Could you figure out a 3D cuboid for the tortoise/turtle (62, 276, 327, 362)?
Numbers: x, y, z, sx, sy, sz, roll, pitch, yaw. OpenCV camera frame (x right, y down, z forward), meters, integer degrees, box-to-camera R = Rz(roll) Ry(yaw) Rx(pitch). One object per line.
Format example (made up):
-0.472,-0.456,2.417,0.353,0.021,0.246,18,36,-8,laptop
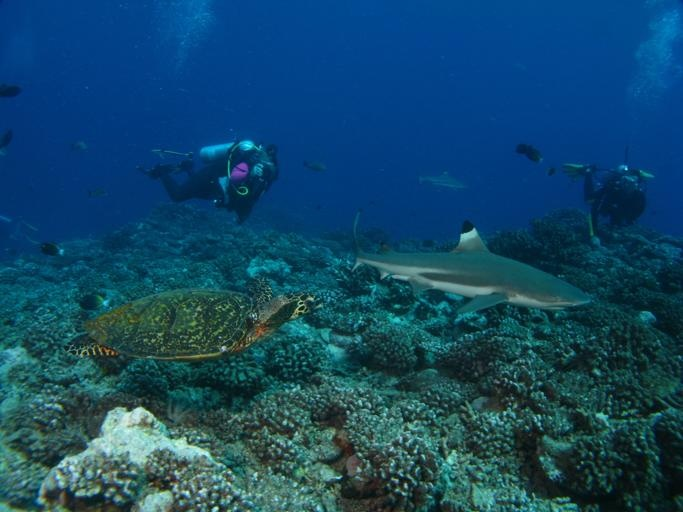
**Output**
-3.267,1.451,12.688,3.861,1.051,2.259,2,10,-4,tortoise/turtle

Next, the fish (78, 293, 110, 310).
-6.299,1.221,14.883,0.516,0.136,0.518,8,22,2,fish

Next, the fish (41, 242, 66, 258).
-9.616,-0.176,19.755,1.110,0.445,0.383,13,30,38,fish
